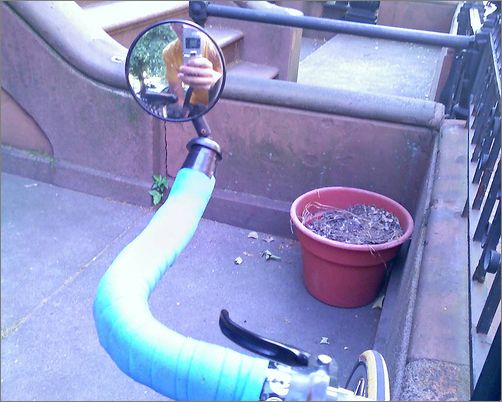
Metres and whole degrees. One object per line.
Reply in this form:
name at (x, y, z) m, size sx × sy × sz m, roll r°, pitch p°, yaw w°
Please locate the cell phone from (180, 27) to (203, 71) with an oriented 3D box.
cell phone at (-0.176, -0.459, 1.381) m, size 0.056 × 0.117 × 0.071 m, roll -3°, pitch 72°, yaw -7°
